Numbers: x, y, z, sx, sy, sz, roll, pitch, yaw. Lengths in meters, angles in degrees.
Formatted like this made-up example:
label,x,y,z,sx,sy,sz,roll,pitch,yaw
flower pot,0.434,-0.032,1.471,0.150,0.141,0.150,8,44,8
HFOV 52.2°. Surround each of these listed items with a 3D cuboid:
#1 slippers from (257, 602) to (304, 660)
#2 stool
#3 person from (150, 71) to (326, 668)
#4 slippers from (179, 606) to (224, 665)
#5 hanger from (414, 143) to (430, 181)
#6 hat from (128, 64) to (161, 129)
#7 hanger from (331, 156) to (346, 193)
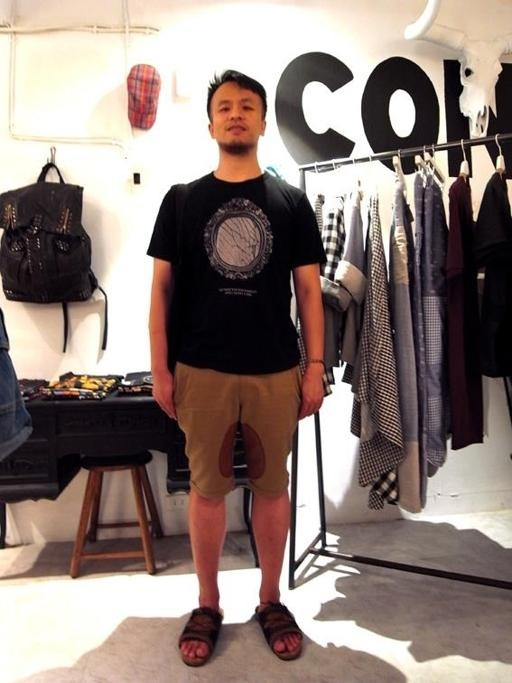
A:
label,x,y,z,sx,sy,sz,roll,pitch,yaw
slippers,0.079,0.850,1.552,0.059,0.082,0.177,-2,-3,-8
stool,-0.539,0.674,2.172,0.357,0.665,0.420,0,-9,-5
person,-0.047,0.075,1.543,0.524,1.686,0.220,-1,2,-15
slippers,-0.151,0.864,1.592,0.083,0.130,0.285,2,-5,7
hanger,0.611,-0.658,1.935,0.039,0.130,0.267,0,3,18
hat,-0.477,-1.035,2.224,0.119,0.258,0.068,1,23,0
hanger,0.376,-0.730,2.375,0.095,0.175,0.054,2,-1,15
